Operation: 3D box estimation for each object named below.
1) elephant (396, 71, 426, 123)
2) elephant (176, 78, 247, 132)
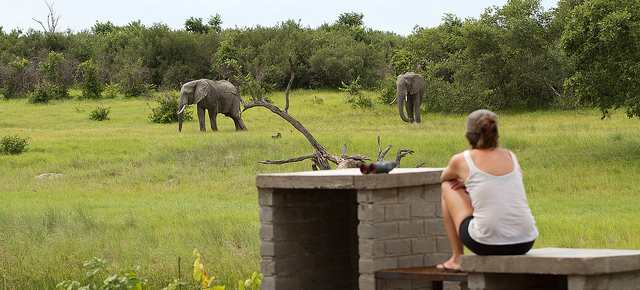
[{"bbox_3d":[6.420,-3.447,53.892,1.864,3.458,3.048,-1,4,12],"label":"elephant"},{"bbox_3d":[-7.532,-2.682,53.309,5.549,3.409,2.161,-4,0,-40],"label":"elephant"}]
